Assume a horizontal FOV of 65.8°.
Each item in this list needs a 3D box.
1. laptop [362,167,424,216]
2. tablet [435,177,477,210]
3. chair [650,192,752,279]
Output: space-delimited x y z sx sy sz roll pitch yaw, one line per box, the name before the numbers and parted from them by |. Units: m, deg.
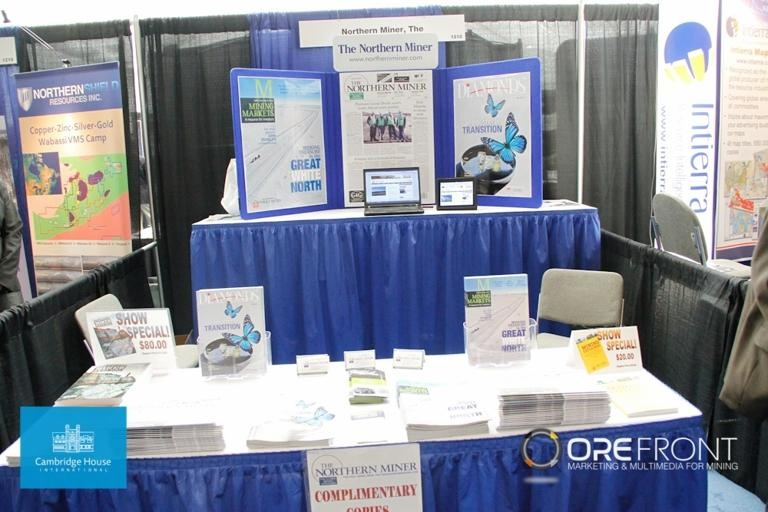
laptop | 0.054 -0.542 4.932 0.518 0.390 0.378 2 17 1
tablet | 0.574 -0.476 4.854 0.407 0.352 0.230 0 3 1
chair | 2.113 -0.159 4.168 0.687 0.611 0.634 -6 13 -17
